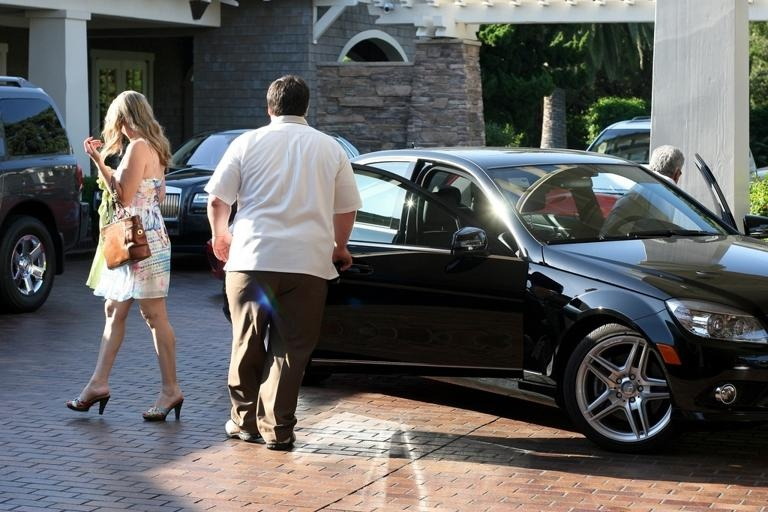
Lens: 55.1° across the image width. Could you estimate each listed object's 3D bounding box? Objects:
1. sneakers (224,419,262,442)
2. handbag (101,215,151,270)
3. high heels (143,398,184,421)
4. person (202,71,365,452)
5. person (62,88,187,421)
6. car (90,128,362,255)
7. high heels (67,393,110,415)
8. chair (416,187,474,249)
[{"bbox_3d":[-1.053,1.279,5.456,0.308,0.126,0.125,20,26,37],"label":"sneakers"},{"bbox_3d":[-1.990,-0.092,5.750,0.424,0.363,0.209,-13,-13,30],"label":"handbag"},{"bbox_3d":[-1.735,1.232,5.880,0.355,0.138,0.143,-3,3,-11],"label":"high heels"},{"bbox_3d":[-0.696,0.231,5.162,1.005,2.286,0.503,-2,12,-12],"label":"person"},{"bbox_3d":[-2.076,-0.006,5.886,0.914,2.581,0.791,0,12,-5],"label":"person"},{"bbox_3d":[-3.291,-1.308,13.912,2.382,1.708,5.507,2,2,31],"label":"car"},{"bbox_3d":[-2.355,1.171,5.907,0.350,0.134,0.172,6,7,4],"label":"high heels"},{"bbox_3d":[0.469,-0.313,5.922,0.506,0.439,0.490,5,0,23],"label":"chair"}]
